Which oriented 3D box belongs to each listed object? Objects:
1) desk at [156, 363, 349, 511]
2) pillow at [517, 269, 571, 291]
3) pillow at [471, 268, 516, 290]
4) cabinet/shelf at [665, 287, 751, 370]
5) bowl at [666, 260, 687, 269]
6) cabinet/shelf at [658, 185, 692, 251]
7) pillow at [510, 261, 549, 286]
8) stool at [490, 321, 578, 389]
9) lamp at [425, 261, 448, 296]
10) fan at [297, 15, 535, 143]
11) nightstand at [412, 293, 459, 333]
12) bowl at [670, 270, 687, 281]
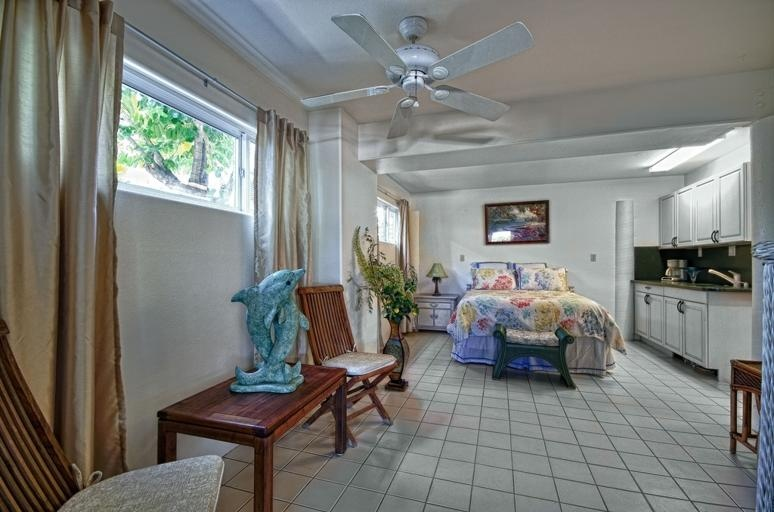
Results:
[{"bbox_3d":[-0.927,0.911,3.272,0.847,0.644,1.259,1,1,19],"label":"desk"},{"bbox_3d":[2.182,0.330,6.700,0.414,0.126,0.441,0,24,35],"label":"pillow"},{"bbox_3d":[1.580,0.341,6.917,0.521,0.300,0.154,0,-20,14],"label":"pillow"},{"bbox_3d":[3.688,0.799,5.611,0.727,1.177,1.321,2,-5,13],"label":"cabinet/shelf"},{"bbox_3d":[3.999,0.117,6.549,0.128,0.084,0.124,2,-4,0],"label":"bowl"},{"bbox_3d":[3.929,-0.494,6.454,0.413,0.844,0.959,2,-2,14],"label":"cabinet/shelf"},{"bbox_3d":[2.078,0.252,7.226,0.448,0.409,0.115,-3,2,-23],"label":"pillow"},{"bbox_3d":[1.594,0.961,5.155,0.860,0.490,0.637,-1,-5,17],"label":"stool"},{"bbox_3d":[0.809,0.333,7.793,0.478,0.557,0.476,1,-4,-4],"label":"lamp"},{"bbox_3d":[0.225,-1.345,3.576,1.431,0.875,1.163,-2,14,-5],"label":"fan"},{"bbox_3d":[0.780,0.910,7.686,0.859,0.775,0.575,-1,-7,12],"label":"nightstand"},{"bbox_3d":[4.022,0.266,6.546,0.169,0.159,0.169,1,-6,0],"label":"bowl"}]
